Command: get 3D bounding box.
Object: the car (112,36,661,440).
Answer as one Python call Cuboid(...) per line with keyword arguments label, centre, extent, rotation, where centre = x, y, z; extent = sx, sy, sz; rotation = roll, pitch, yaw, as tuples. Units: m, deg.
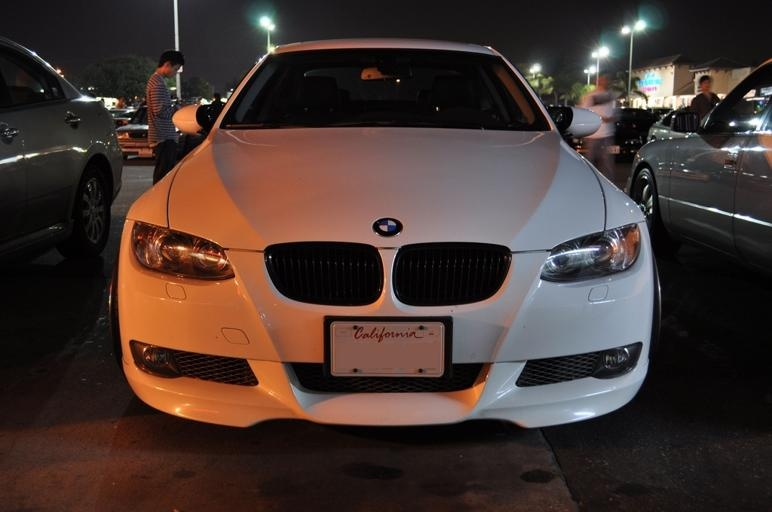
Cuboid(label="car", centre=(0.005, -0.358, 3.986), extent=(2.029, 1.672, 3.680), rotation=(0, 11, -1))
